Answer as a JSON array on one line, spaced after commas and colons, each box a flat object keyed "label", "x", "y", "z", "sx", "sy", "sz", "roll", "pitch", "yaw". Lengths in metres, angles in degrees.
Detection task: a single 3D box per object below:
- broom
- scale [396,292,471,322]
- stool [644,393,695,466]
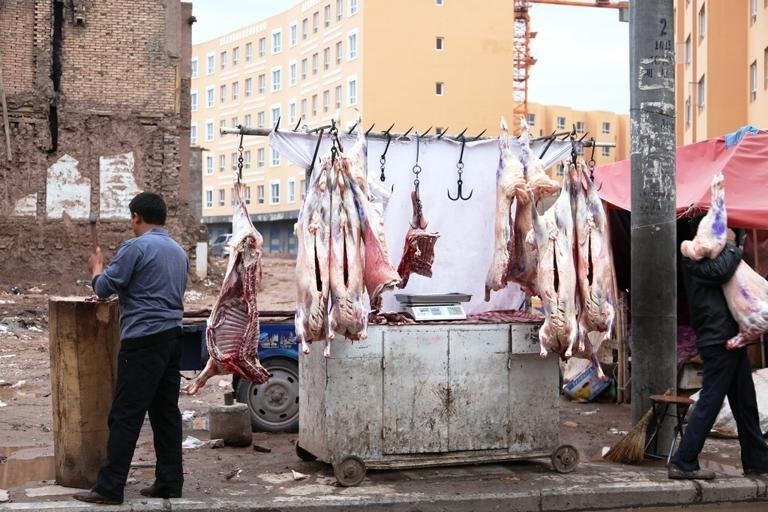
[{"label": "broom", "x": 4.127, "y": 2.968, "z": 20.173, "sx": 0.855, "sy": 0.929, "sz": 0.292, "roll": -3, "pitch": 11, "yaw": -9}, {"label": "scale", "x": 0.834, "y": 0.837, "z": 20.339, "sx": 0.970, "sy": 0.476, "sz": 0.306, "roll": -2, "pitch": 0, "yaw": 1}, {"label": "stool", "x": 4.895, "y": 2.841, "z": 20.410, "sx": 0.898, "sy": 1.164, "sz": 0.716, "roll": -12, "pitch": -2, "yaw": 38}]
